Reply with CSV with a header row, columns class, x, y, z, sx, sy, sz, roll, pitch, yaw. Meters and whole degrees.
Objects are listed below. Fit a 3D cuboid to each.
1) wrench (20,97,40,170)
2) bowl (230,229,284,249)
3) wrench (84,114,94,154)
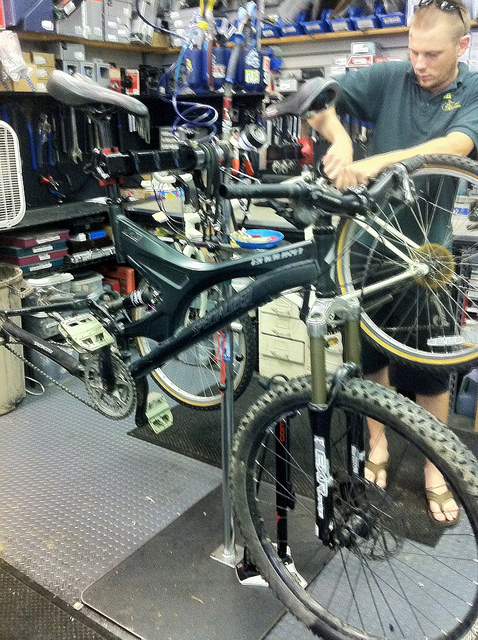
class,x,y,z,sx,sy,sz,roll,pitch,yaw
wrench,-1.409,-1.242,3.216,0.025,0.336,0.098,15,26,32
bowl,0.058,-0.213,1.279,0.147,0.046,0.138,-2,13,1
wrench,-1.084,-1.354,3.470,0.066,0.260,0.144,-8,13,-28
